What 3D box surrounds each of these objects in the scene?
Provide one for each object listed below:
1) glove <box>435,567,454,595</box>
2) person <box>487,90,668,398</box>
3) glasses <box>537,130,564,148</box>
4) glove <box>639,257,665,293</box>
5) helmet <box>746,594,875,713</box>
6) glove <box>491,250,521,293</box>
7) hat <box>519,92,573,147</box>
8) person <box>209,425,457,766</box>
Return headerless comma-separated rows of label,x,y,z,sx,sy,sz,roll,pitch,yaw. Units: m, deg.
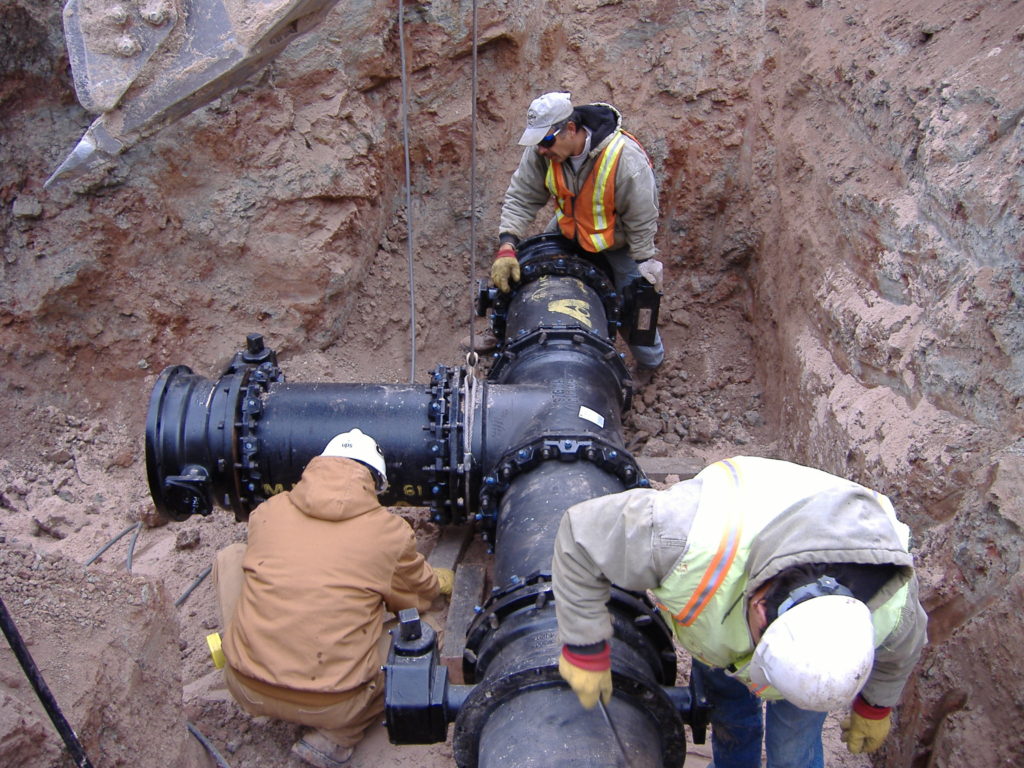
glove,-0.392,1.154,5.758,0.136,0.060,0.148,4,13,0
person,0.545,-1.064,7.211,1.038,2.429,1.162,2,43,10
glasses,0.240,-1.592,6.420,0.056,0.118,0.078,17,10,-30
glove,1.025,-0.796,6.907,0.085,0.208,0.203,-34,-1,-26
helmet,1.162,1.035,3.817,0.456,0.342,0.365,-43,0,-22
glove,-0.043,-0.779,6.951,0.171,0.267,0.122,7,-16,14
hat,0.223,-1.731,6.454,0.327,0.336,0.237,5,8,6
person,-0.933,1.101,5.045,0.910,1.325,0.919,20,26,12
